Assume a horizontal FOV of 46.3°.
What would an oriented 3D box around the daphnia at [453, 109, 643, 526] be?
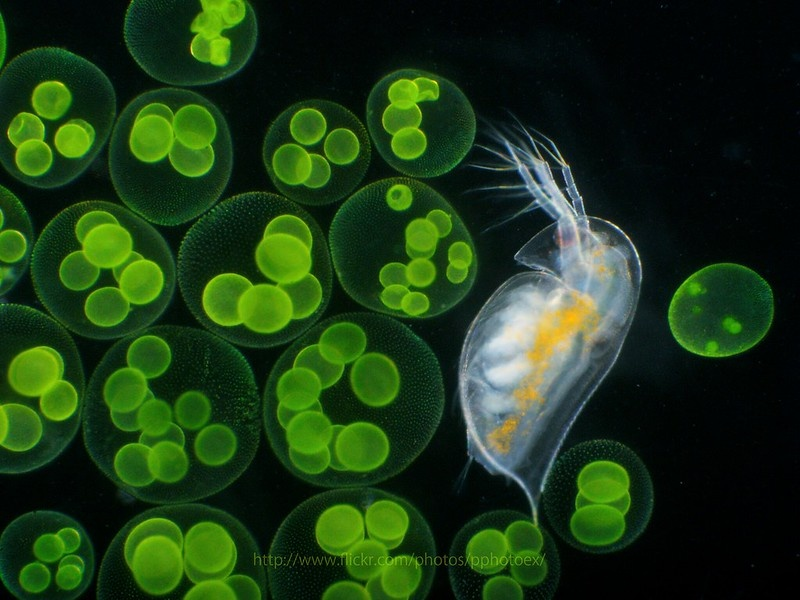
[{"bbox_3d":[0.719,0.115,4.774,0.888,1.617,0.295,12,6,13],"label":"daphnia"}]
